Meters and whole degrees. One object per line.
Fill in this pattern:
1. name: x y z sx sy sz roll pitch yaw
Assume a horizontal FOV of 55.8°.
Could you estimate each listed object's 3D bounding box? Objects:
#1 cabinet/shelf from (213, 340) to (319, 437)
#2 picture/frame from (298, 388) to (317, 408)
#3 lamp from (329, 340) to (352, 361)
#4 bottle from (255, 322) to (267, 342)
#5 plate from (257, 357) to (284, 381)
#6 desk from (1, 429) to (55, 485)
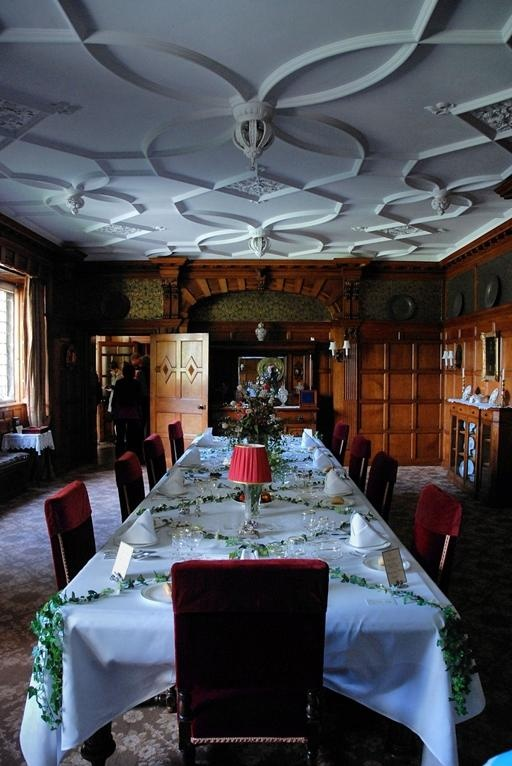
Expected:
1. cabinet/shelf: 0.241 0.022 6.930 1.643 1.533 0.534 0 0 1
2. picture/frame: 0.855 0.253 8.110 0.322 0.322 0.044 1 -9 -1
3. lamp: 1.449 -0.564 8.255 0.352 0.330 0.181 -1 -5 -2
4. bottle: 0.068 -0.874 8.231 0.195 0.335 0.355 -1 3 2
5. plate: 0.266 -0.240 8.493 0.513 0.427 0.321 -2 3 0
6. desk: -3.117 1.007 6.780 0.718 0.680 0.645 -1 -4 -1
